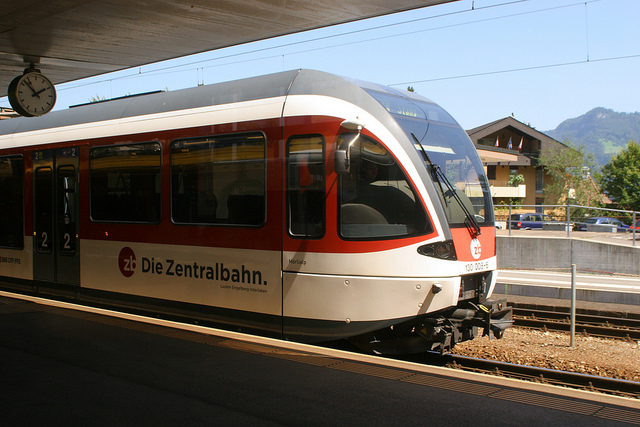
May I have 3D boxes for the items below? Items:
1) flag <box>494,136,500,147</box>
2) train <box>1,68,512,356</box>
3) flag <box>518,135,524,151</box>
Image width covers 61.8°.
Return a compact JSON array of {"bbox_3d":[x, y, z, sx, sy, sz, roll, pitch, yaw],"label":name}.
[{"bbox_3d":[17.256,-6.875,52.274,0.078,1.575,0.351,15,-5,-24],"label":"flag"},{"bbox_3d":[-2.824,-0.083,12.576,12.927,4.466,4.301,-1,3,33],"label":"train"},{"bbox_3d":[19.897,-7.040,53.235,0.475,1.353,2.114,3,9,21],"label":"flag"}]
